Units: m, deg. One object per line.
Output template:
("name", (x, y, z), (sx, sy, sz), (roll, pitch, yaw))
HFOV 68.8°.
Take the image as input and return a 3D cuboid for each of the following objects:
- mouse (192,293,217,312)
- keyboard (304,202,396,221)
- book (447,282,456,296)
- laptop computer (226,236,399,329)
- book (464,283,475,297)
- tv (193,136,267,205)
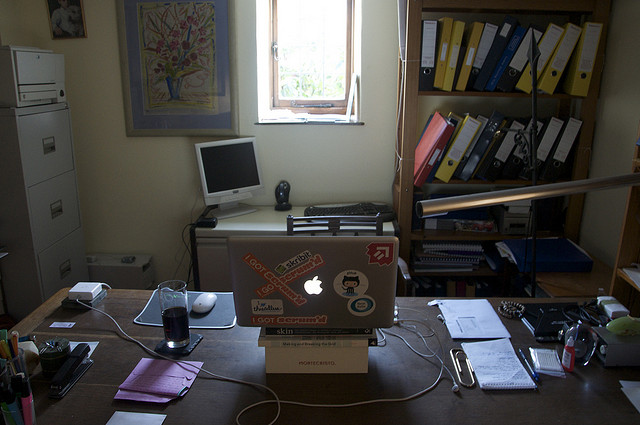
("mouse", (-0.641, 0.497, 2.618), (0.108, 0.051, 0.147), (4, 22, 11))
("keyboard", (0.258, -0.022, 3.852), (0.520, 0.074, 0.286), (0, 11, -2))
("book", (1.086, 0.626, 3.866), (0.072, 0.100, 0.015), (-1, 21, -2))
("laptop computer", (-0.025, 0.274, 2.419), (0.778, 0.486, 0.563), (-1, 16, -2))
("book", (1.230, 0.629, 3.843), (0.076, 0.142, 0.071), (3, 23, 8))
("tv", (-0.750, -0.373, 3.912), (0.472, 0.477, 0.047), (-16, 9, -13))
